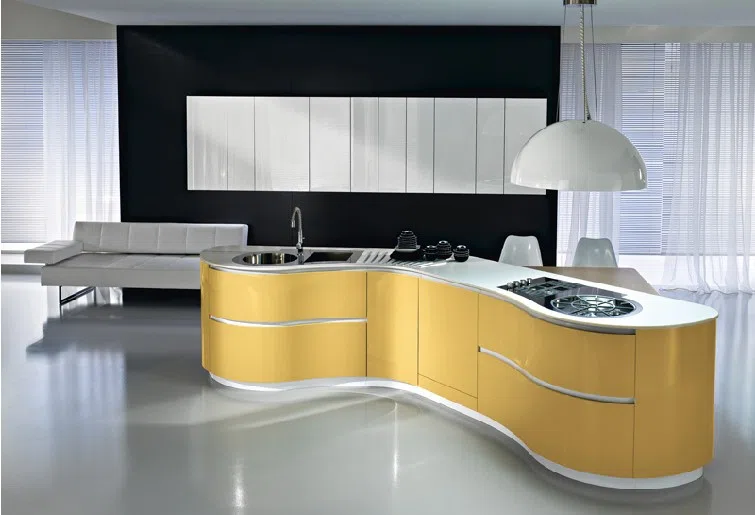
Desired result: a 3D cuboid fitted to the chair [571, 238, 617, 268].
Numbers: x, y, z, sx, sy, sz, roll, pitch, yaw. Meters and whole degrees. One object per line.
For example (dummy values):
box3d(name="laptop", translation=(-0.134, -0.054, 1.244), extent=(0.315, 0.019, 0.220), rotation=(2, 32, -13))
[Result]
box3d(name="chair", translation=(2.326, -0.024, 6.751), extent=(0.378, 0.513, 0.388), rotation=(0, -2, 4))

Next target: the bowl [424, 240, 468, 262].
box3d(name="bowl", translation=(0.632, -0.075, 5.642), extent=(0.295, 0.126, 0.225), rotation=(1, 6, 12))

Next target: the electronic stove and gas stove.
box3d(name="electronic stove and gas stove", translation=(1.488, 0.303, 4.691), extent=(0.712, 0.099, 0.944), rotation=(-6, 14, -38))

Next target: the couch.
box3d(name="couch", translation=(-3.286, 0.079, 8.160), extent=(2.427, 1.032, 1.102), rotation=(3, 11, 2))

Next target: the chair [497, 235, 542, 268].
box3d(name="chair", translation=(1.512, -0.059, 6.781), extent=(0.387, 0.543, 0.414), rotation=(0, 2, 8))

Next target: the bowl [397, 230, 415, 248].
box3d(name="bowl", translation=(0.273, -0.167, 5.803), extent=(0.186, 0.167, 0.181), rotation=(0, -2, 0))

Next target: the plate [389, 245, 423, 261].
box3d(name="plate", translation=(0.268, -0.044, 5.695), extent=(0.305, 0.097, 0.350), rotation=(3, 11, 3))
